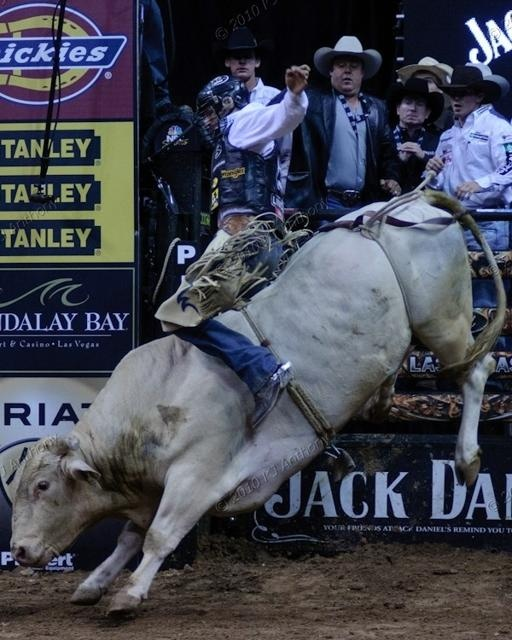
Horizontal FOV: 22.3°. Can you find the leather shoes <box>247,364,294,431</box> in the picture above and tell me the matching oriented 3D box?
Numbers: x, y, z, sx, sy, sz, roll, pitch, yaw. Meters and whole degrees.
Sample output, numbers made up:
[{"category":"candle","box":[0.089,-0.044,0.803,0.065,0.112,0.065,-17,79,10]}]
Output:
[{"category":"leather shoes","box":[0.048,0.387,6.833,0.166,0.384,0.132,29,22,-19]}]

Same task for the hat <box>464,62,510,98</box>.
[{"category":"hat","box":[1.660,-1.792,9.265,0.337,0.124,0.372,-31,-16,10]}]

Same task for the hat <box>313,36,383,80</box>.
[{"category":"hat","box":[0.627,-1.852,8.998,0.452,0.159,0.444,1,-20,0]}]

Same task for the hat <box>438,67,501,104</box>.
[{"category":"hat","box":[1.530,-1.641,8.970,0.345,0.123,0.304,26,-36,-37]}]

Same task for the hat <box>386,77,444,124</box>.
[{"category":"hat","box":[1.135,-1.560,9.038,0.320,0.110,0.305,6,25,2]}]

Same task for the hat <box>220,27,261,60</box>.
[{"category":"hat","box":[-0.102,-1.899,8.791,0.254,0.100,0.276,-6,19,-1]}]
